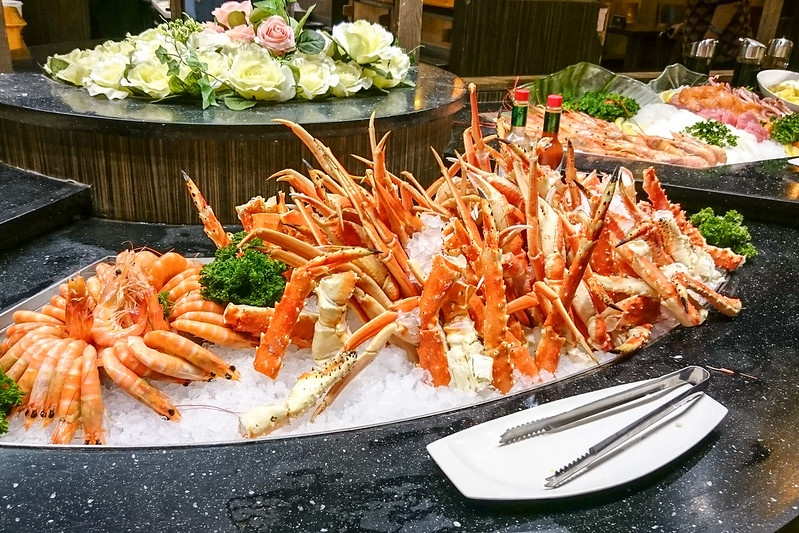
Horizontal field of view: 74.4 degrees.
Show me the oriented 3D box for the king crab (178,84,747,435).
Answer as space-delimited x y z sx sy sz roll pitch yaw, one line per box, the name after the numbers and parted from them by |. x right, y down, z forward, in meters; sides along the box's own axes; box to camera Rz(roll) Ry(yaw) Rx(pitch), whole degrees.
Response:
0.217 0.095 1.572 1.354 0.502 0.845 -14 65 -3 | king crab
